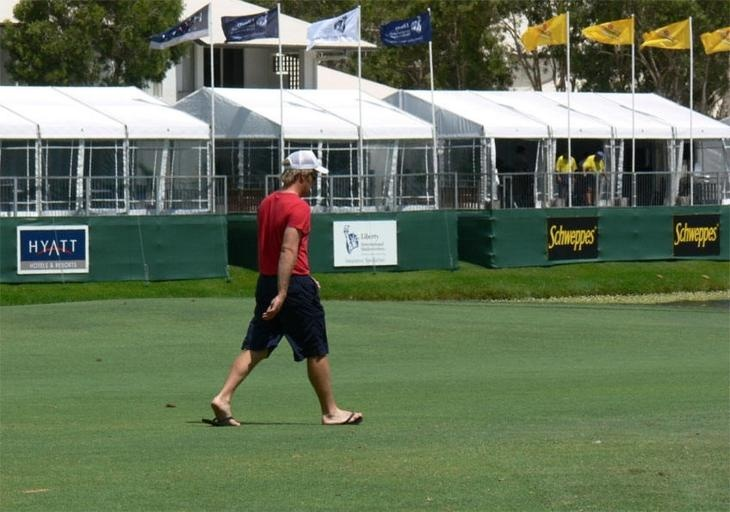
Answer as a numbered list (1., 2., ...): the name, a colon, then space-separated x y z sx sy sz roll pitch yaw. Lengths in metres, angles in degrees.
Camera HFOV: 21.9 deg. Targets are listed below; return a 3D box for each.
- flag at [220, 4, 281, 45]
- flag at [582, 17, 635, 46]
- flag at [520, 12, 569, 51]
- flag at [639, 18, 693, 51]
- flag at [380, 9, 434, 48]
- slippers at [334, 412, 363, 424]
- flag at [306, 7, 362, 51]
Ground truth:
1. flag: -3.888 -7.864 64.628 2.178 1.017 0.647 -1 1 18
2. flag: 9.105 -8.239 69.739 1.652 0.967 1.172 -1 1 13
3. flag: 6.571 -8.130 68.996 1.794 1.309 0.249 -7 30 -10
4. flag: 11.266 -8.207 69.933 1.640 1.040 1.330 -1 1 9
5. flag: 1.523 -8.038 66.769 2.100 1.220 1.342 -1 1 23
6. slippers: -0.347 3.981 45.717 0.546 0.145 0.269 -3 0 5
7. flag: -1.067 -7.886 65.091 1.717 1.321 1.004 -1 1 5
